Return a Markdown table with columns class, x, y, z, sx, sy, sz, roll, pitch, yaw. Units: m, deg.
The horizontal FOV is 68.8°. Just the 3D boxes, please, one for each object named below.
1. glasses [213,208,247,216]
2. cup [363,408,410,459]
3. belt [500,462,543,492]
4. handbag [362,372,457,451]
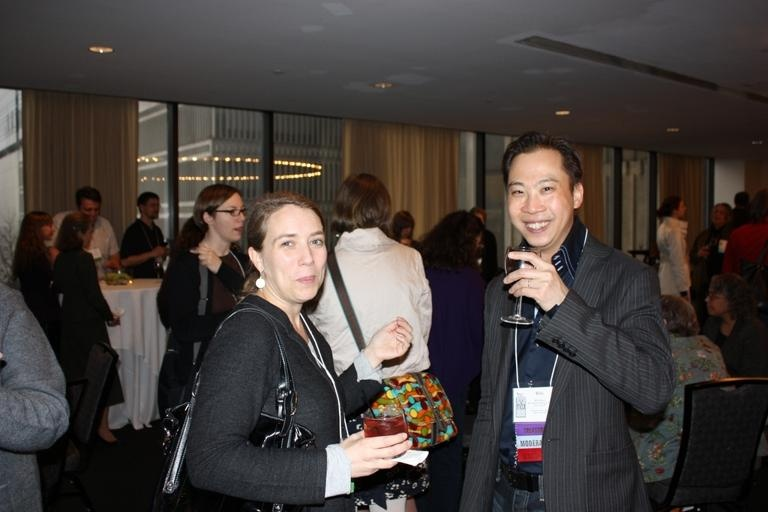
| class | x | y | z | sx | sy | sz | roll | pitch | yaw |
| --- | --- | --- | --- | --- | --- | --- | --- | --- | --- |
| glasses | -0.997 | -0.288 | 3.578 | 0.121 | 0.036 | 0.121 | -1 | 1 | 38 |
| cup | 0.010 | 0.686 | 2.284 | 0.167 | 0.176 | 0.176 | -6 | 10 | 1 |
| belt | 0.610 | 0.957 | 2.450 | 0.134 | 0.072 | 0.189 | 5 | -13 | 4 |
| handbag | 0.207 | 0.802 | 3.091 | 0.445 | 0.482 | 0.482 | -11 | -7 | 31 |
